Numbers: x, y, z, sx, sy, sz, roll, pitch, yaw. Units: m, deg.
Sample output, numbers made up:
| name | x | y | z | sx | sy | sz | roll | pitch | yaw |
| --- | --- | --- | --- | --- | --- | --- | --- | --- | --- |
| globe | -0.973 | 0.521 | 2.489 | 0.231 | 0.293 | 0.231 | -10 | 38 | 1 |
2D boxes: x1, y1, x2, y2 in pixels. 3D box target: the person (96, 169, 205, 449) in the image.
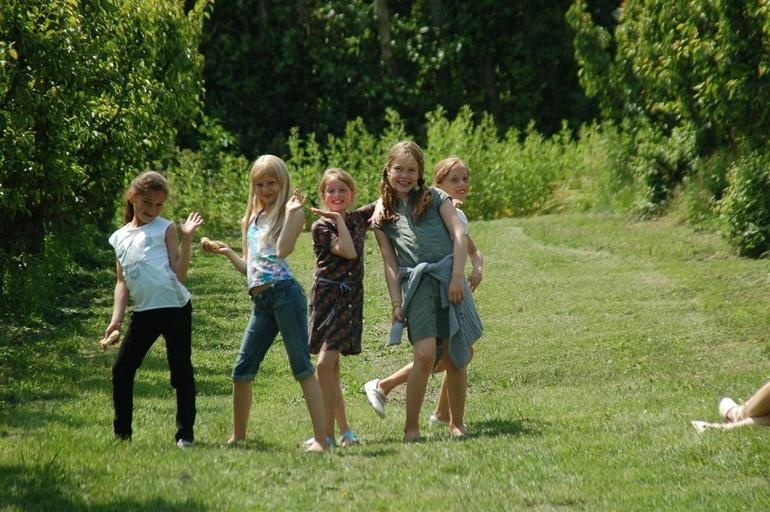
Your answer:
| name | x | y | z | sx | sy | sz | roll | pitch | yaw |
| --- | --- | --- | --- | --- | --- | --- | --- | --- | --- |
| person | -2.493 | 0.545 | 12.144 | 0.982 | 2.928 | 0.529 | 2 | 2 | -10 |

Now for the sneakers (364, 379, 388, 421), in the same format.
| name | x | y | z | sx | sy | sz | roll | pitch | yaw |
| --- | --- | --- | --- | --- | --- | --- | --- | --- | --- |
| sneakers | -0.112 | 1.612 | 12.839 | 0.211 | 0.505 | 0.183 | -22 | -5 | 5 |
